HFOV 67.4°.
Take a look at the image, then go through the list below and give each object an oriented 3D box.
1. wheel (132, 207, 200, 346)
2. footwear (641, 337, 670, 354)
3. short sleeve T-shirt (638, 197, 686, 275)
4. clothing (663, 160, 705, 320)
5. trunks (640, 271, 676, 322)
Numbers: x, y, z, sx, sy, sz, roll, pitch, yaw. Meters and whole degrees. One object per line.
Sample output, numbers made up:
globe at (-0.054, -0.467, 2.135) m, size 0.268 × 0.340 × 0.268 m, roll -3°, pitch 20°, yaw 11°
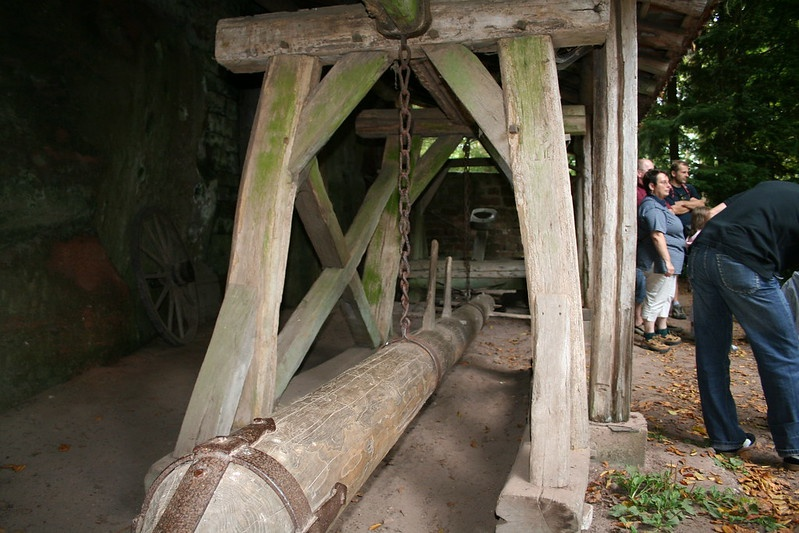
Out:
wheel at (-2.982, 0.161, 7.560) m, size 0.348 × 1.297 × 1.224 m, roll -9°, pitch 32°, yaw 11°
footwear at (3.281, 0.990, 7.702) m, size 0.311 × 0.161 × 0.152 m, roll 5°, pitch 10°, yaw 32°
short sleeve T-shirt at (3.372, -0.442, 7.750) m, size 0.566 × 1.032 × 0.935 m, roll -2°, pitch 0°, yaw 25°
clothing at (3.887, -0.374, 8.366) m, size 0.606 × 2.195 × 0.549 m, roll -2°, pitch 3°, yaw -21°
trunks at (3.262, 0.356, 7.616) m, size 0.216 × 0.393 × 0.625 m, roll -1°, pitch -1°, yaw 44°
